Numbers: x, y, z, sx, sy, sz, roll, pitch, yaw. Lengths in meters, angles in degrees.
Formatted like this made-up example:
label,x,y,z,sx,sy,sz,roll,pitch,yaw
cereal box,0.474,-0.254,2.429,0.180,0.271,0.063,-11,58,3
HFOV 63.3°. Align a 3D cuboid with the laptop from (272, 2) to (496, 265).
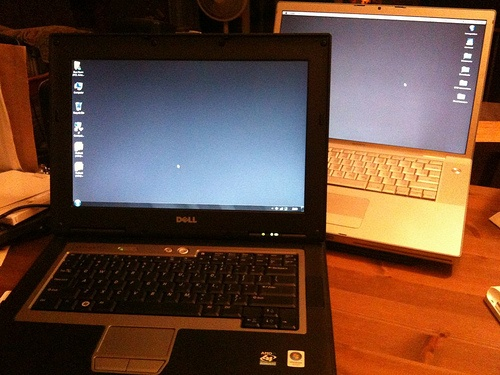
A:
label,x,y,z,sx,sy,sz,roll,pitch,yaw
laptop,0.325,-0.050,1.071,0.570,0.376,0.549,9,70,12
